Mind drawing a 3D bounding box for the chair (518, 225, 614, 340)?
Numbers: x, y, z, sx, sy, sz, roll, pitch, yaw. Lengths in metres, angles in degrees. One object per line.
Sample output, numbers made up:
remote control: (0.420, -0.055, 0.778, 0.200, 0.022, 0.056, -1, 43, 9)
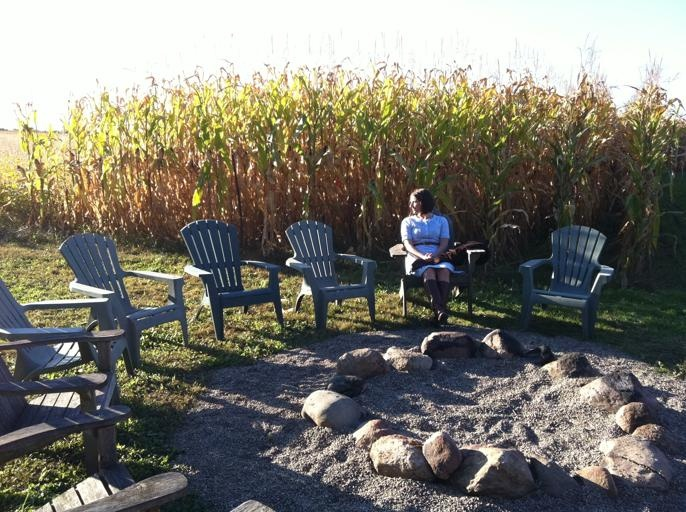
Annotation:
chair: (2.592, 0.263, 7.161, 0.921, 1.162, 1.185, 7, 12, 31)

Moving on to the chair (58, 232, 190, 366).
chair: (-2.175, 0.434, 6.133, 1.078, 1.185, 0.945, 4, 11, 25)

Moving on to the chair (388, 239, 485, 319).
chair: (1.176, 0.277, 7.724, 0.749, 1.063, 1.089, 0, 2, 3)

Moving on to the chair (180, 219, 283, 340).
chair: (-1.280, 0.205, 7.005, 0.903, 1.267, 1.223, -5, 5, -25)

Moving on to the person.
person: (0.991, -0.034, 7.125, 0.579, 1.176, 1.724, -7, 20, 5)

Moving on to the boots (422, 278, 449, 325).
boots: (1.051, 0.537, 6.999, 0.277, 0.525, 0.396, -2, 14, 9)

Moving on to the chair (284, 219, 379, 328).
chair: (-0.182, 0.192, 7.302, 0.879, 1.182, 1.162, -4, 7, -25)
